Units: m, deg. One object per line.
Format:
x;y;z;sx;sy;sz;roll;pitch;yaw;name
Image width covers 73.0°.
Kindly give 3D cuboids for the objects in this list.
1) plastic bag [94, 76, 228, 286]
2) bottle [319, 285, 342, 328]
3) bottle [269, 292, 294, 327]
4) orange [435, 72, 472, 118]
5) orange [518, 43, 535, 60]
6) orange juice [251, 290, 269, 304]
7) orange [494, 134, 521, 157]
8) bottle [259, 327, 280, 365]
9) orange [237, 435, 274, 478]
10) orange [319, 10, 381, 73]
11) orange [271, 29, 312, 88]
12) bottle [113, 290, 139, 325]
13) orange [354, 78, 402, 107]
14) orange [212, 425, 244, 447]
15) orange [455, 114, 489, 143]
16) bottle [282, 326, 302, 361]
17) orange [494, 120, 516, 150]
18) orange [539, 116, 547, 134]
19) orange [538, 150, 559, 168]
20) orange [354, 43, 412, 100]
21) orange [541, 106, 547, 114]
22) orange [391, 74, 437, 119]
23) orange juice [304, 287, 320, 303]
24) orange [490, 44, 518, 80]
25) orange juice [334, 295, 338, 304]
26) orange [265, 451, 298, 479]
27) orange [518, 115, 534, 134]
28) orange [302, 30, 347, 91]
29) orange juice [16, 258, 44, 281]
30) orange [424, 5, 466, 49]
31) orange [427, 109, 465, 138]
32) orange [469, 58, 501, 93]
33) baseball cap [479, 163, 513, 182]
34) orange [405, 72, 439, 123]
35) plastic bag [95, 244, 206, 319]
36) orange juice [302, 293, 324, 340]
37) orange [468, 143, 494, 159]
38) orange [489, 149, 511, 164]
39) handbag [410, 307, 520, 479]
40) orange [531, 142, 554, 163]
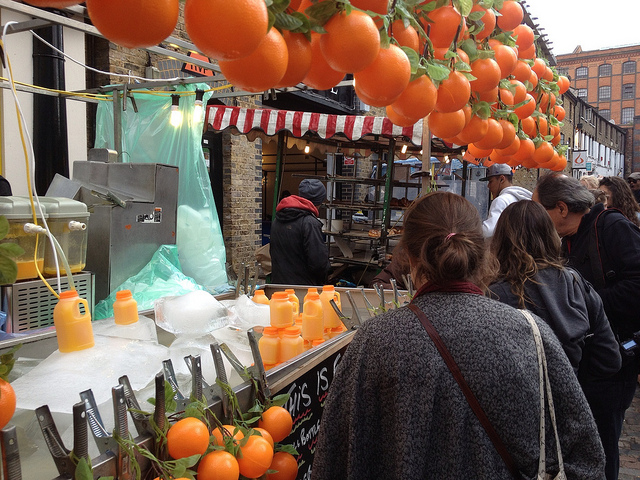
-1.567;-0.762;4.701;1.005;2.509;1.238;11;13;29;plastic bag
0.062;0.384;2.517;0.116;0.238;0.134;-3;9;29;bottle
-0.179;0.382;2.279;0.111;0.196;0.171;3;-17;-42;bottle
0.606;-0.709;2.063;0.219;0.174;0.103;-7;9;-40;orange
1.382;-1.289;2.952;0.095;0.119;0.097;-13;25;-15;orange
-0.348;0.334;2.531;0.088;0.076;0.151;3;8;26;orange juice
1.250;-0.632;2.930;0.131;0.171;0.140;-1;8;7;orange
-0.246;0.515;2.139;0.103;0.160;0.105;3;0;0;bottle
-0.229;0.769;1.539;0.122;0.127;0.078;-2;7;-13;orange
0.106;-0.654;1.511;0.148;0.212;0.169;8;11;28;orange
-0.090;-0.633;1.508;0.149;0.191;0.158;-5;32;-12;orange
-0.902;0.311;2.028;0.108;0.145;0.110;-3;10;0;bottle
0.229;-0.619;1.780;0.119;0.148;0.120;-5;18;-28;orange
-0.335;0.686;1.547;0.076;0.067;0.062;-18;28;-40;orange
0.866;-0.621;2.483;0.133;0.177;0.166;-3;33;9;orange
-0.136;0.509;2.117;0.097;0.148;0.082;-3;7;-22;bottle
1.136;-0.640;2.670;0.146;0.190;0.156;-2;7;8;orange
1.701;-0.878;3.327;0.038;0.116;0.172;3;8;33;orange
1.926;-0.680;3.663;0.135;0.175;0.143;1;6;34;orange
0.239;-0.618;1.663;0.155;0.211;0.183;-5;17;-33;orange
1.824;-1.072;3.560;0.040;0.041;0.042;7;9;21;orange
0.418;-0.604;1.917;0.126;0.181;0.157;23;9;26;orange
-0.046;0.301;2.419;0.062;0.125;0.067;4;5;16;orange juice
1.039;-1.027;2.475;0.134;0.174;0.142;-6;-11;-2;orange
0.094;0.349;2.527;0.027;0.056;0.031;1;1;6;orange juice
-0.153;0.861;1.724;0.101;0.129;0.104;-5;10;-14;orange
1.402;-0.796;2.981;0.093;0.103;0.114;14;-15;21;orange
0.018;-0.641;1.578;0.146;0.187;0.158;3;25;15;orange
-1.440;0.140;2.160;0.144;0.104;0.154;-6;-2;37;orange juice
0.575;-1.022;2.078;0.169;0.174;0.100;-1;7;-6;orange
0.613;-0.604;2.219;0.144;0.148;0.171;38;30;18;orange
0.867;-0.849;2.304;0.151;0.207;0.167;5;13;33;orange
2.133;-0.855;5.231;0.453;0.291;0.320;5;13;26;baseball cap
0.445;-0.639;1.938;0.158;0.211;0.168;5;19;26;orange
-1.289;0.313;3.452;0.650;0.433;0.875;2;8;18;plastic bag
-0.036;0.410;2.345;0.120;0.220;0.117;2;4;-6;orange juice
1.091;-0.602;2.966;0.132;0.098;0.138;-2;11;-9;orange
1.297;-0.593;3.155;0.102;0.130;0.108;-19;5;16;orange
0.477;0.537;1.441;0.063;0.578;0.028;-26;-2;37;handbag
1.733;-0.690;3.394;0.143;0.140;0.163;2;8;21;orange
